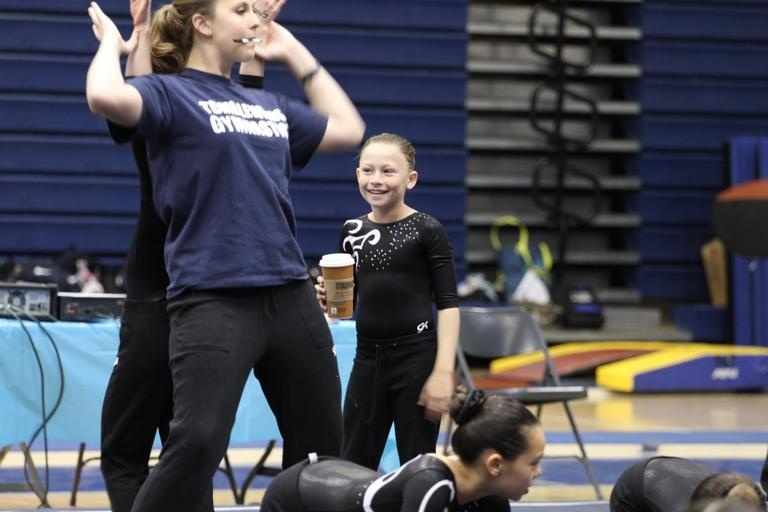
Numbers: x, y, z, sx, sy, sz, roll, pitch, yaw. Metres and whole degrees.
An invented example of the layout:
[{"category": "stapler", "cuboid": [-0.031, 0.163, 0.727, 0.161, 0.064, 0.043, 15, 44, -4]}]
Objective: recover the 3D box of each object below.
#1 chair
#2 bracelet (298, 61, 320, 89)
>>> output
[{"category": "chair", "cuboid": [0.922, 1.012, 10.548, 0.799, 1.197, 0.875, -1, 5, -26]}, {"category": "bracelet", "cuboid": [-0.454, -1.109, 9.218, 0.152, 0.153, 0.154, -23, 5, -2]}]
